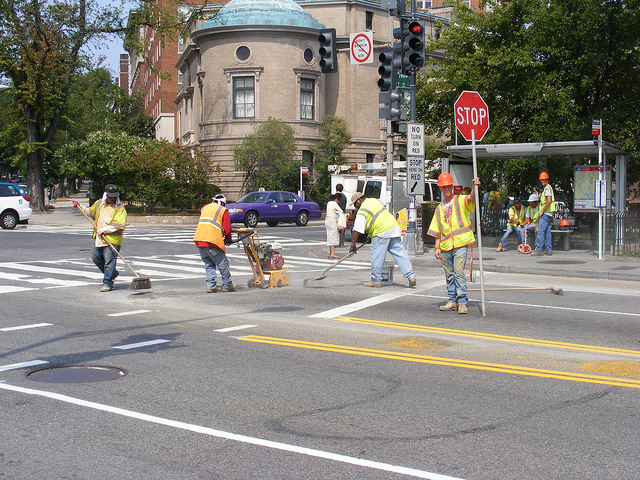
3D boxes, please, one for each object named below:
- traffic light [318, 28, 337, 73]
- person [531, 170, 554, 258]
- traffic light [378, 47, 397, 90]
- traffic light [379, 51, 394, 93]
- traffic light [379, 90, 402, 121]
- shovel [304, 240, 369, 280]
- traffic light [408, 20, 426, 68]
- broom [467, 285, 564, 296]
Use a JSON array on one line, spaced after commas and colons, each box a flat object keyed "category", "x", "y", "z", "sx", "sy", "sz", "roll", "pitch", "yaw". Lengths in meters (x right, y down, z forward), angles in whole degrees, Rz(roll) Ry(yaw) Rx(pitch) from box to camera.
[{"category": "traffic light", "x": 0.202, "y": -4.663, "z": 18.584, "sx": 0.414, "sy": 1.086, "sz": 0.611, "roll": 0, "pitch": 6, "yaw": -3}, {"category": "person", "x": 6.087, "y": -0.759, "z": 20.750, "sx": 0.579, "sy": 2.225, "sz": 0.708, "roll": 1, "pitch": 4, "yaw": 21}, {"category": "traffic light", "x": 1.744, "y": -4.411, "z": 19.453, "sx": 0.440, "sy": 1.067, "sz": 0.766, "roll": 1, "pitch": 6, "yaw": 7}, {"category": "traffic light", "x": 1.708, "y": -4.324, "z": 19.450, "sx": 0.373, "sy": 1.000, "sz": 0.836, "roll": 1, "pitch": 6, "yaw": 5}, {"category": "traffic light", "x": 1.873, "y": -3.554, "z": 20.036, "sx": 0.643, "sy": 0.811, "sz": 0.638, "roll": 2, "pitch": 6, "yaw": 21}, {"category": "shovel", "x": 0.185, "y": 0.541, "z": 15.708, "sx": 0.974, "sy": 0.736, "sz": 2.475, "roll": 0, "pitch": 6, "yaw": -1}, {"category": "traffic light", "x": 2.416, "y": -4.928, "z": 19.042, "sx": 0.354, "sy": 1.193, "sz": 0.595, "roll": 2, "pitch": 6, "yaw": 15}, {"category": "broom", "x": 3.727, "y": 0.961, "z": 14.536, "sx": 1.347, "sy": 0.106, "sz": 0.340, "roll": 0, "pitch": 27, "yaw": 2}]
